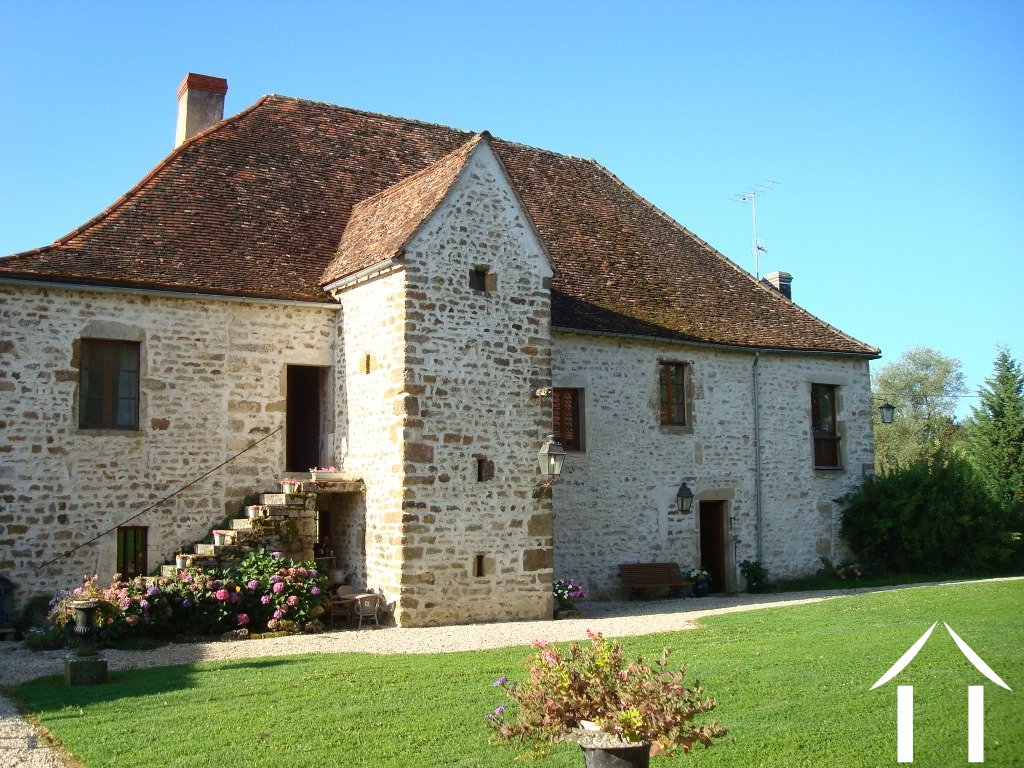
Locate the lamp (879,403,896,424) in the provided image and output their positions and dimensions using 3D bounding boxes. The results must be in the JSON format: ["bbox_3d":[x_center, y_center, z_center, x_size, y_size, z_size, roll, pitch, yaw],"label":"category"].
[{"bbox_3d":[9.261,0.702,25.129,0.289,0.493,0.846,-3,-5,19],"label":"lamp"}]

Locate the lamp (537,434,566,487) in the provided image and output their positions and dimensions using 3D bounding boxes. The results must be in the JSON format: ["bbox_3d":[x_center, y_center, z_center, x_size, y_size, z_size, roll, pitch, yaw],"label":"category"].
[{"bbox_3d":[0.674,1.304,17.540,0.374,0.863,0.488,1,-5,-28],"label":"lamp"}]

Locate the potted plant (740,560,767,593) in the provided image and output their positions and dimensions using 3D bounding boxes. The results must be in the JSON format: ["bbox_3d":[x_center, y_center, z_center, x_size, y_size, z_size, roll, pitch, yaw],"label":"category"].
[{"bbox_3d":[5.175,4.092,21.832,0.602,0.752,0.565,3,-12,-12],"label":"potted plant"}]

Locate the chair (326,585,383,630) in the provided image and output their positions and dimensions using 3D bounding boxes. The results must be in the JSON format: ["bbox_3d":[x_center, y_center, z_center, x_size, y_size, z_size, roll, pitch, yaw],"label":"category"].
[{"bbox_3d":[-2.590,3.714,16.945,0.575,0.566,0.734,6,-27,-13],"label":"chair"}]

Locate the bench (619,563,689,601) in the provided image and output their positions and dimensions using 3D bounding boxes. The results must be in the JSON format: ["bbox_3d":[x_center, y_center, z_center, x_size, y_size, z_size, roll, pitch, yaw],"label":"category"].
[{"bbox_3d":[2.894,3.928,20.519,1.647,0.747,0.482,2,-6,-34],"label":"bench"}]

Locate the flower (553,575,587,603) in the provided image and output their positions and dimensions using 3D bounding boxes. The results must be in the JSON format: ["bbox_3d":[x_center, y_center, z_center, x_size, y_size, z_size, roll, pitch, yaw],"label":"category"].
[{"bbox_3d":[1.001,3.724,18.502,0.463,0.309,0.474,5,-7,-4],"label":"flower"}]

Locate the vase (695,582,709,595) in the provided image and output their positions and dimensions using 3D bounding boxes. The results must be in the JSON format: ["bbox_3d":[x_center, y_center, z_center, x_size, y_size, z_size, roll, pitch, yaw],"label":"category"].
[{"bbox_3d":[3.912,4.188,21.017,0.237,0.165,0.242,1,-9,-1],"label":"vase"}]

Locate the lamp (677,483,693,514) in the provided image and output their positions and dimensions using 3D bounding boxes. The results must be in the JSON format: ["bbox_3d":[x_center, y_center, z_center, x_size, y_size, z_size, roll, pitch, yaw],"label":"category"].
[{"bbox_3d":[3.620,2.336,21.076,0.433,0.662,0.242,2,-6,-39],"label":"lamp"}]

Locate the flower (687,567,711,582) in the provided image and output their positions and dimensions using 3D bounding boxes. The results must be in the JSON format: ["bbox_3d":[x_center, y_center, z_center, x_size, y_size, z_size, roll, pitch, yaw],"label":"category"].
[{"bbox_3d":[3.853,3.930,21.112,0.494,0.285,0.330,3,-7,-44],"label":"flower"}]
